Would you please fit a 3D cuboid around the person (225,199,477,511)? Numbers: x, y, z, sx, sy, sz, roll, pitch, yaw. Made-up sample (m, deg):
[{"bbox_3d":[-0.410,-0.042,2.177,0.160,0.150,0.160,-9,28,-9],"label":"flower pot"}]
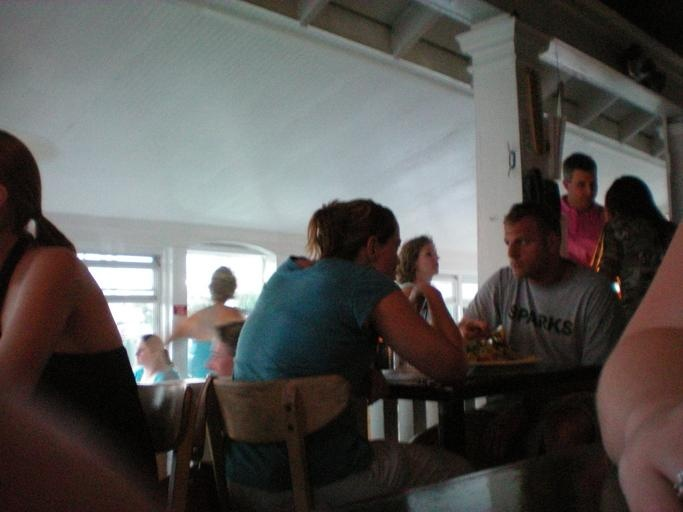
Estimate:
[{"bbox_3d":[-0.050,0.189,1.505,0.635,0.886,0.526,-2,2,-41],"label":"person"}]
